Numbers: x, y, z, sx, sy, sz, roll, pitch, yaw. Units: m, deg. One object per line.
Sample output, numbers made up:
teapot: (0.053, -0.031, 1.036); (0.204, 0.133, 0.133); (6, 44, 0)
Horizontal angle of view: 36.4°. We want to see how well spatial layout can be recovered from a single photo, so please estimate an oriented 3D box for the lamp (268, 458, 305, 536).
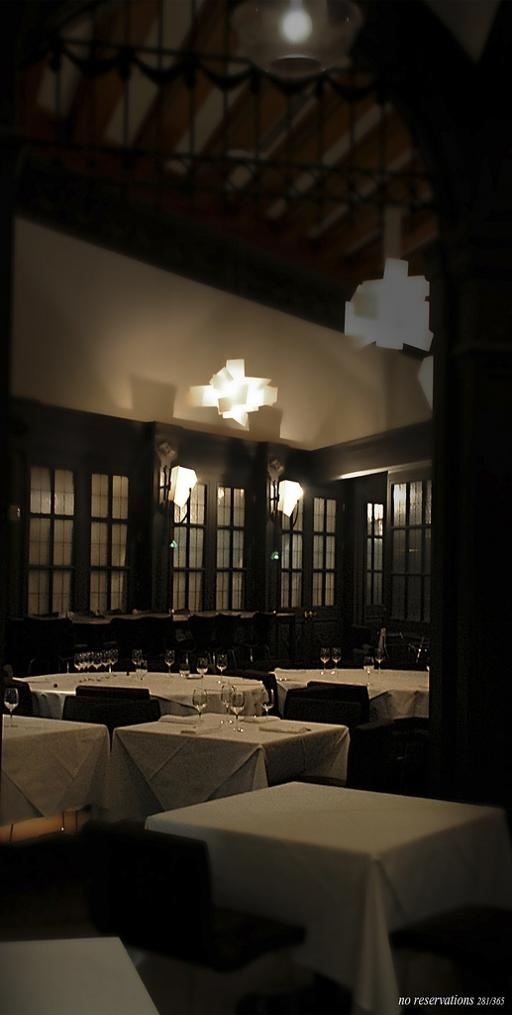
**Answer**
lamp: (0.082, -0.045, 2.166); (0.115, 0.179, 0.027); (6, -5, -33)
